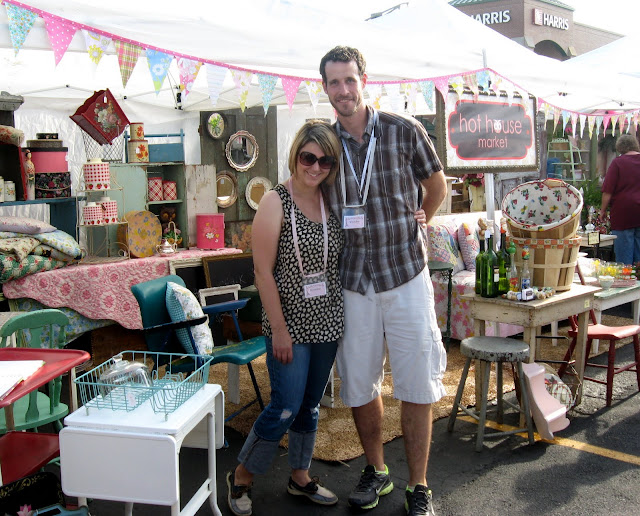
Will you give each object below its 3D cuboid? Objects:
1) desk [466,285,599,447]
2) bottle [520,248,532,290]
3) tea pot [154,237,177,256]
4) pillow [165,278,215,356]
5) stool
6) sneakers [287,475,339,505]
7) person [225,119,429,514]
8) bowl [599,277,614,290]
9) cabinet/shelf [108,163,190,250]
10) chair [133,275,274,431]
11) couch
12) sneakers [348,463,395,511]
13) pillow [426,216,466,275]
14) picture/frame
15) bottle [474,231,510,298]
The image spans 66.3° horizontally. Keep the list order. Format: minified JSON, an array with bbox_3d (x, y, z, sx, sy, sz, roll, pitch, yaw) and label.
[{"bbox_3d":[1.780,0.642,4.020,0.796,0.797,0.524,-9,13,-21],"label":"desk"},{"bbox_3d":[1.580,0.081,3.757,0.080,0.286,0.265,2,7,23],"label":"bottle"},{"bbox_3d":[-1.853,-0.135,5.843,0.225,0.169,0.170,-5,8,-43],"label":"tea pot"},{"bbox_3d":[-0.963,0.458,3.690,0.294,0.554,0.648,-1,-5,-3],"label":"pillow"},{"bbox_3d":[1.271,0.950,3.671,0.615,0.757,0.738,2,8,23],"label":"stool"},{"bbox_3d":[-0.041,1.357,2.885,0.298,0.130,0.123,5,1,18],"label":"sneakers"},{"bbox_3d":[-0.194,0.369,2.611,0.602,2.144,0.349,-2,7,-13],"label":"person"},{"bbox_3d":[2.770,0.244,4.739,0.105,0.094,0.117,0,-10,11],"label":"bowl"},{"bbox_3d":[-2.102,-0.667,6.150,0.974,1.016,0.367,-3,7,1],"label":"cabinet/shelf"},{"bbox_3d":[-0.830,0.649,3.513,0.811,1.009,0.708,-2,3,12],"label":"chair"},{"bbox_3d":[2.136,0.150,6.369,0.918,1.416,1.736,0,8,41],"label":"couch"},{"bbox_3d":[0.288,1.321,2.842,0.129,0.163,0.320,-3,-7,26],"label":"sneakers"},{"bbox_3d":[1.737,-0.113,6.377,0.337,0.708,0.964,-18,-11,39],"label":"pillow"},{"bbox_3d":[-0.953,0.392,5.893,0.896,1.069,0.097,-3,-27,-41],"label":"picture/frame"},{"bbox_3d":[1.348,0.048,3.778,0.292,0.498,0.191,0,7,3],"label":"bottle"}]
